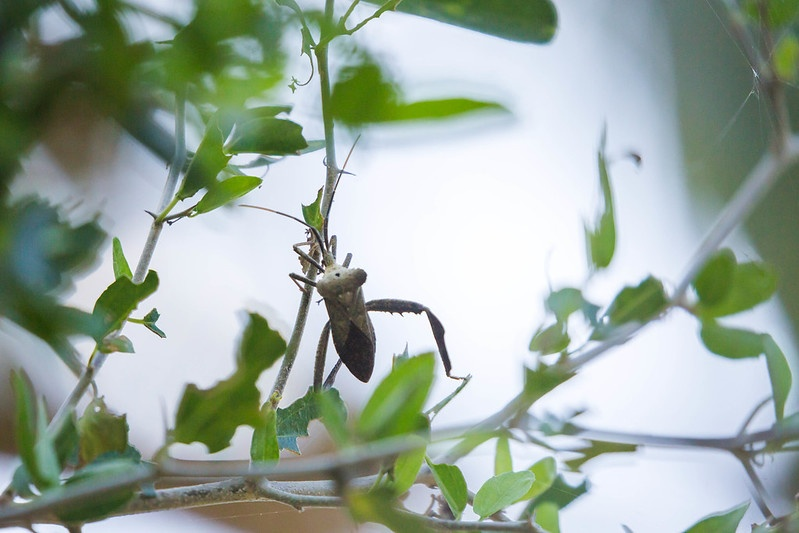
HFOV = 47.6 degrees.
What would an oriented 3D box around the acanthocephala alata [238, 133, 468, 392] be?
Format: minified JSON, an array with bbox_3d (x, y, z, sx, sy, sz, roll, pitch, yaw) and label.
[{"bbox_3d":[-0.048,0.031,1.128,0.226,0.402,0.119,-4,-42,-9],"label":"acanthocephala alata"}]
